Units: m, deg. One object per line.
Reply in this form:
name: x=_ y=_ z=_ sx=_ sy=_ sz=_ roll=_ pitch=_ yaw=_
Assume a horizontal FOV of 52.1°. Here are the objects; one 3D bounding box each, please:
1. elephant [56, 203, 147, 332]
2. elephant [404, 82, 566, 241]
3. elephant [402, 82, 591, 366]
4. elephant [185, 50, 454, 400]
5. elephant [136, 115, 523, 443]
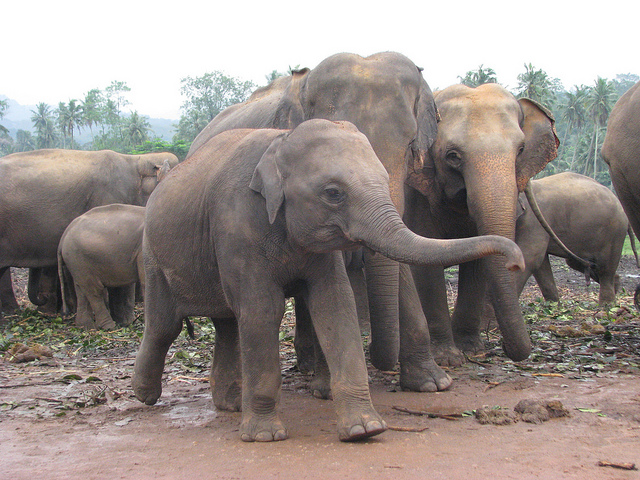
elephant: x=-2.576 y=0.341 z=7.960 sx=0.827 sy=1.526 sz=1.383 roll=-7 pitch=6 yaw=-40
elephant: x=1.483 y=-0.653 z=5.086 sx=1.177 sy=0.961 sz=1.711 roll=0 pitch=2 yaw=-6
elephant: x=1.350 y=-0.101 z=6.420 sx=1.710 sy=2.547 sz=3.422 roll=-3 pitch=3 yaw=-3
elephant: x=-0.453 y=0.294 z=5.983 sx=1.512 sy=2.608 sz=3.141 roll=5 pitch=-14 yaw=-38
elephant: x=-0.172 y=0.290 z=4.086 sx=3.199 sy=1.889 sz=0.911 roll=-7 pitch=-2 yaw=44
